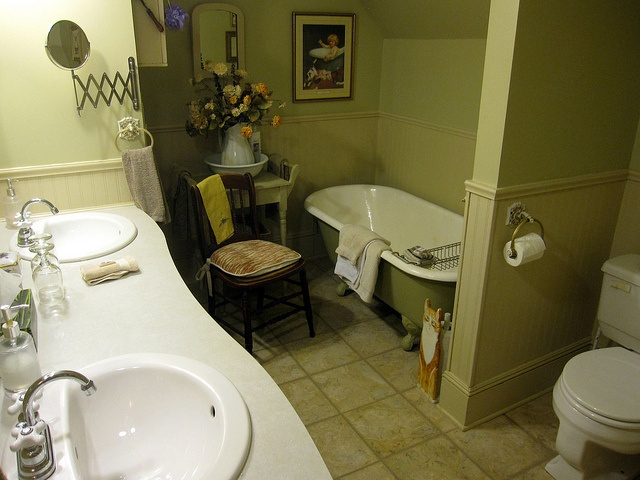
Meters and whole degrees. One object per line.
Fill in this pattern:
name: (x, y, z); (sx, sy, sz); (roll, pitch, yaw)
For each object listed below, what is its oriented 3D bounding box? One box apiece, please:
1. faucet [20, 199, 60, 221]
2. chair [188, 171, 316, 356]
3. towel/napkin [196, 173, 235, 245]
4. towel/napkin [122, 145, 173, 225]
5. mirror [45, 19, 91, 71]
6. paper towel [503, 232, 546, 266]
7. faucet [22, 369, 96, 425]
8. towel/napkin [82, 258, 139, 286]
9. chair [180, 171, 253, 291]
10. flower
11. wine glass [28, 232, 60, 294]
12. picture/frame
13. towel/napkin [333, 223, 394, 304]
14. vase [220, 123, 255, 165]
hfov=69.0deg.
faucet: (-1.386, -0.148, 2.288); (0.142, 0.097, 0.082); (8, 30, -8)
chair: (-0.511, 0.093, 3.251); (0.639, 1.089, 0.887); (-15, 28, -31)
towel/napkin: (-0.704, -0.202, 3.131); (0.059, 0.495, 0.257); (4, 33, 35)
towel/napkin: (-0.979, -0.300, 2.658); (0.087, 0.391, 0.263); (7, 20, 38)
mirror: (-1.237, -0.967, 2.302); (0.201, 0.248, 0.020); (-9, -7, -17)
paper towel: (1.014, 0.046, 2.375); (0.189, 0.173, 0.123); (-19, 32, -21)
faucet: (-0.697, 0.421, 1.231); (0.175, 0.238, 0.054); (-1, 38, -32)
towel/napkin: (-0.900, 0.122, 1.992); (0.150, 0.051, 0.127); (-14, 28, -34)
chair: (-0.704, -0.097, 3.191); (0.436, 0.821, 0.507); (-22, 46, -30)
flower: (-0.624, -0.979, 3.575); (0.649, 0.571, 0.606); (-1, 1, -1)
wine glass: (-1.092, 0.078, 1.836); (0.098, 0.196, 0.184); (-15, 28, -30)
picture/frame: (0.012, -1.561, 3.905); (0.615, 0.775, 0.030); (-14, 28, -26)
towel/napkin: (0.273, 0.133, 3.194); (0.153, 0.502, 0.458); (-9, 34, -39)
vase: (-0.618, -0.696, 3.414); (0.281, 0.348, 0.206); (-5, 18, -16)
